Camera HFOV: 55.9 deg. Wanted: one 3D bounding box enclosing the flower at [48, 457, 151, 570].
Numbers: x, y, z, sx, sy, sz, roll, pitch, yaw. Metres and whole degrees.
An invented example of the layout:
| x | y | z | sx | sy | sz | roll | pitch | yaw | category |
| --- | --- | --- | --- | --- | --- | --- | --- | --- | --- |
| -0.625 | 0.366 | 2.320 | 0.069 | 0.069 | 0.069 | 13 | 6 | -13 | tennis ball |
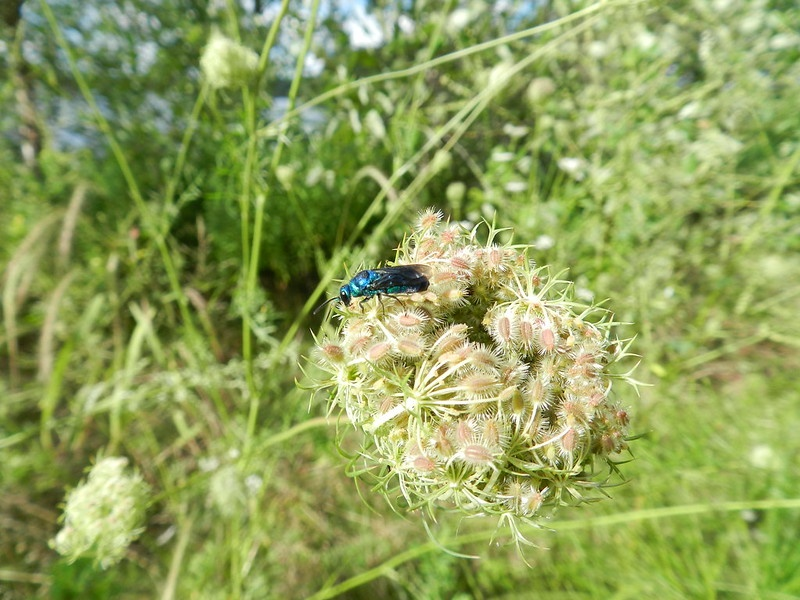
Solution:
| x | y | z | sx | sy | sz | roll | pitch | yaw | category |
| --- | --- | --- | --- | --- | --- | --- | --- | --- | --- |
| -1.337 | 1.005 | 3.598 | 0.481 | 0.204 | 0.500 | 1 | 75 | 31 | flower |

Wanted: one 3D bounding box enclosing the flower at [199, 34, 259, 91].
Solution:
| x | y | z | sx | sy | sz | roll | pitch | yaw | category |
| --- | --- | --- | --- | --- | --- | --- | --- | --- | --- |
| -0.803 | -1.114 | 3.532 | 0.274 | 0.107 | 0.219 | -1 | 71 | 17 | flower |
